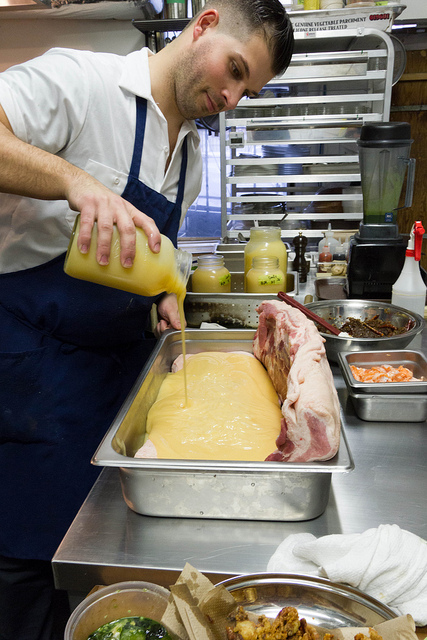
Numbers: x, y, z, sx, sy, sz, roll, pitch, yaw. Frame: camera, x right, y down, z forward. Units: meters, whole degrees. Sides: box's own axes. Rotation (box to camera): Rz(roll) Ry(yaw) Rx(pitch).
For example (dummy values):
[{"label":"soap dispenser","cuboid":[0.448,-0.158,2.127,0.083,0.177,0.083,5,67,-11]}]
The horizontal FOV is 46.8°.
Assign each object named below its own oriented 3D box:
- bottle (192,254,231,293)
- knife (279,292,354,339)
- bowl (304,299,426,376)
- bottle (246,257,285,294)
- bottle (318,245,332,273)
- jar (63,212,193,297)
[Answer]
[{"label":"bottle","cuboid":[-0.011,-0.175,1.857,0.139,0.154,0.143,0,8,-1]},{"label":"knife","cuboid":[0.303,-0.011,1.447,0.228,0.020,0.034,37,-10,19]},{"label":"bowl","cuboid":[0.480,0.008,1.482,0.283,0.092,0.285,2,18,-1]},{"label":"bottle","cuboid":[0.178,-0.164,1.841,0.136,0.152,0.140,0,7,1]},{"label":"bottle","cuboid":[0.562,-0.303,2.491,0.063,0.122,0.190,5,15,12]},{"label":"jar","cuboid":[-0.177,-0.128,1.066,0.278,0.196,0.181,-1,15,-12]}]
